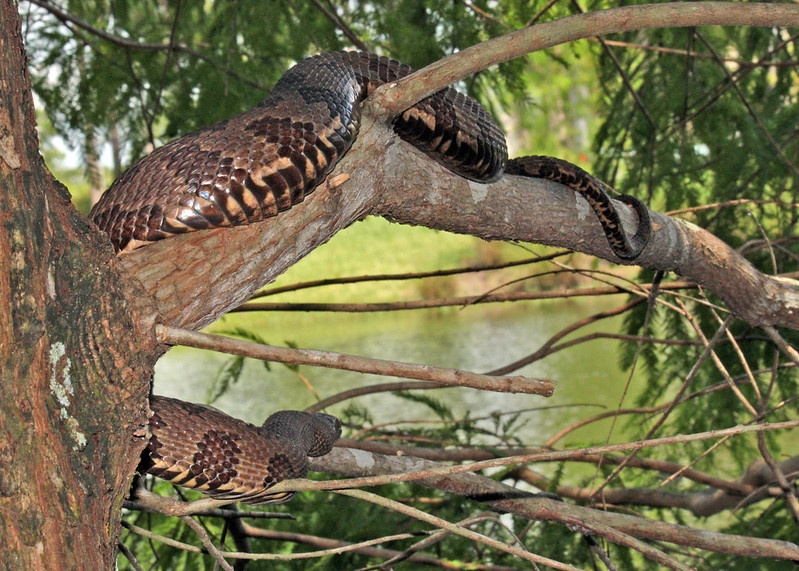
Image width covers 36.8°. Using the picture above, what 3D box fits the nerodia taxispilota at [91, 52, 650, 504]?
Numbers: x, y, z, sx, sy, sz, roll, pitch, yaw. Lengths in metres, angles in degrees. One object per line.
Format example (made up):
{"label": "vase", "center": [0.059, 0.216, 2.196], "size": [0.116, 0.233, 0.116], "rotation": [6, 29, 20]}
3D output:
{"label": "nerodia taxispilota", "center": [-0.654, -0.382, 8.240], "size": [2.618, 3.256, 0.558], "rotation": [21, -53, 10]}
